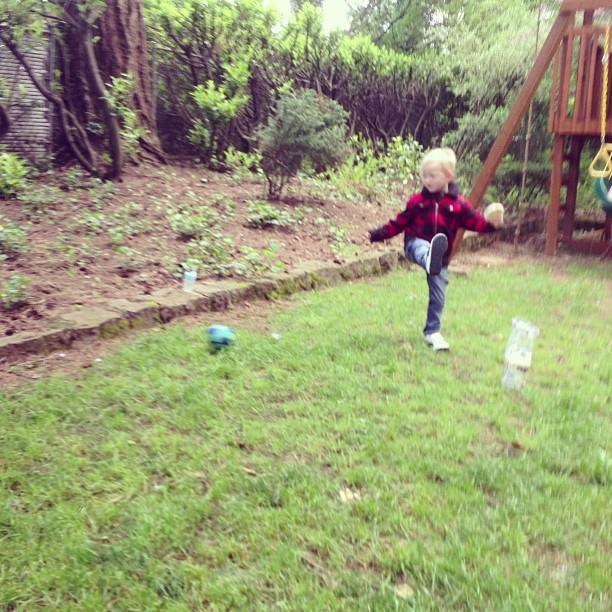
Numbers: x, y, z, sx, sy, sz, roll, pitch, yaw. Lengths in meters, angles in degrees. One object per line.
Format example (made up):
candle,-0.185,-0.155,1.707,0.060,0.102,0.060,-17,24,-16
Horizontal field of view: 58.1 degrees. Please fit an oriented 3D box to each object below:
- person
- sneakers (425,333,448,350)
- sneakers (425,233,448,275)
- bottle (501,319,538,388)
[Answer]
person,1.040,-0.455,4.321,0.726,1.460,0.874,-3,18,-12
sneakers,1.001,0.279,4.251,0.074,0.087,0.187,-6,11,-15
sneakers,0.941,-0.366,4.068,0.107,0.332,0.133,4,28,-1
bottle,1.309,0.309,3.402,0.155,0.486,0.255,7,19,18
